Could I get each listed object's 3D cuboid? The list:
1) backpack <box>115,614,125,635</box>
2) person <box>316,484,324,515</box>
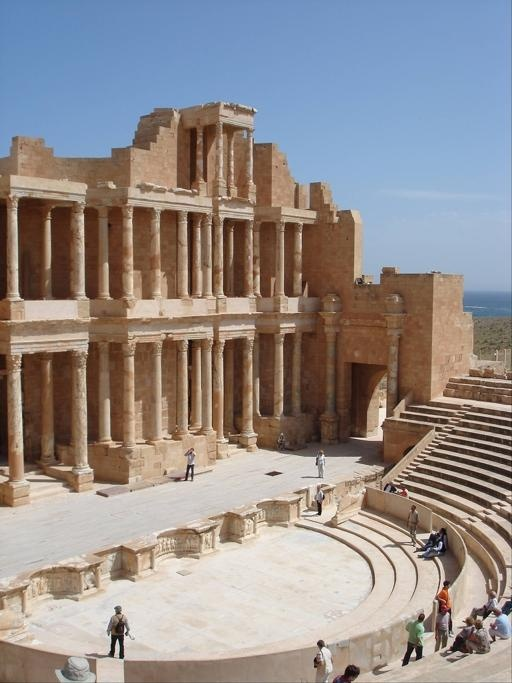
[{"bbox_3d":[-2.732,5.696,17.214,0.198,0.274,0.278,3,10,-12],"label":"backpack"},{"bbox_3d":[2.036,5.102,27.677,0.262,0.870,0.881,-1,-1,4],"label":"person"}]
